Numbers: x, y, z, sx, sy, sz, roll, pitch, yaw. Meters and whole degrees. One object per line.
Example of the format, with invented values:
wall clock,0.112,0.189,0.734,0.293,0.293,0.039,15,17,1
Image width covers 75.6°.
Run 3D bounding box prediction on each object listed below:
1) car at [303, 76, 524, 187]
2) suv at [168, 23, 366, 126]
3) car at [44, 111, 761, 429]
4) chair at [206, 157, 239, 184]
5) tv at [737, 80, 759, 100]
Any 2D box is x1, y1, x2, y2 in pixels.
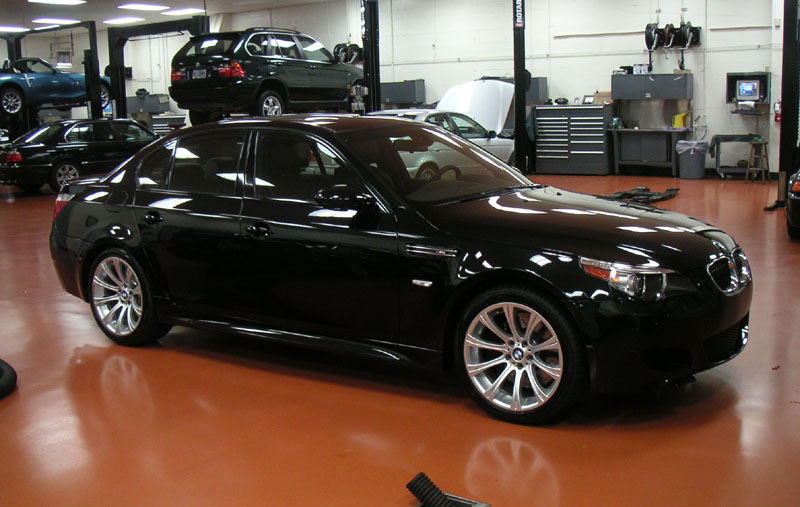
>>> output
car,1.610,-3.120,12.659,2.573,2.721,5.730,7,12,38
suv,-2.141,-3.119,9.643,1.790,1.494,3.906,7,13,42
car,-0.478,-0.071,4.590,5.319,1.795,2.288,3,9,23
chair,-1.405,-0.660,4.119,0.280,0.198,0.216,9,5,35
tv,9.467,-4.407,14.002,0.564,0.528,0.317,3,4,31
